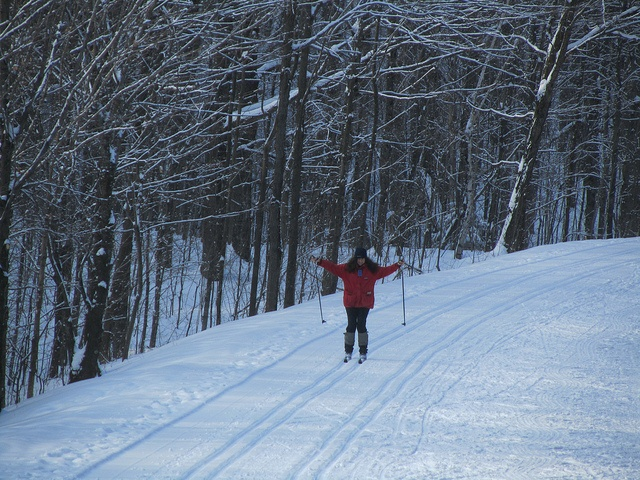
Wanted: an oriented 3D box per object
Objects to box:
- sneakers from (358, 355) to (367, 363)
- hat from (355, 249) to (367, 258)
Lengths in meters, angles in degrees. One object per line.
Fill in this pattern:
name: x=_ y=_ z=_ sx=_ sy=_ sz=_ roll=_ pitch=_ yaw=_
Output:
sneakers: x=1.074 y=2.992 z=21.422 sx=0.149 sy=0.181 sz=0.181 roll=1 pitch=-11 yaw=-1
hat: x=1.051 y=0.335 z=21.949 sx=0.209 sy=0.198 sz=0.249 roll=2 pitch=-18 yaw=0
